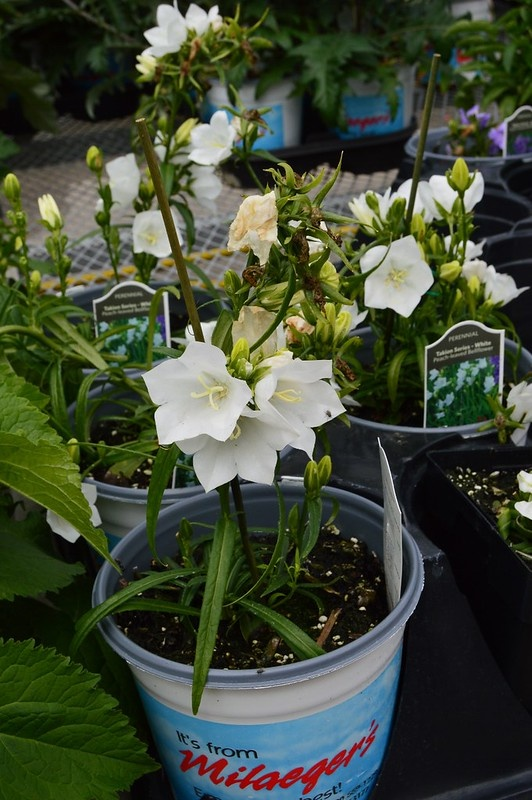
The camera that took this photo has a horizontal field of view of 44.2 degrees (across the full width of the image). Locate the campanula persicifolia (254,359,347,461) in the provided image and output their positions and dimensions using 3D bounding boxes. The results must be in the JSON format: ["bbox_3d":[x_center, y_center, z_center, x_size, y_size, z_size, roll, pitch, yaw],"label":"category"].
[{"bbox_3d":[0.023,-0.003,0.451,0.064,0.068,0.033,-11,36,-6],"label":"campanula persicifolia"}]

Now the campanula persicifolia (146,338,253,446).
[{"bbox_3d":[-0.041,-0.008,0.407,0.070,0.067,0.045,7,33,20],"label":"campanula persicifolia"}]

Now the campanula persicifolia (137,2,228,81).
[{"bbox_3d":[-0.131,-0.577,1.049,0.139,0.104,0.159,0,31,9],"label":"campanula persicifolia"}]

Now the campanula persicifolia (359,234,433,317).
[{"bbox_3d":[0.175,-0.182,0.894,0.085,0.026,0.089,34,30,-17],"label":"campanula persicifolia"}]

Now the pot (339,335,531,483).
[{"bbox_3d":[0.262,0.006,1.018,0.251,0.085,0.260,-3,42,2],"label":"pot"}]

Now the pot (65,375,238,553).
[{"bbox_3d":[-0.198,0.128,1.104,0.271,0.209,0.275,1,35,-1],"label":"pot"}]

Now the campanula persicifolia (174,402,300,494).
[{"bbox_3d":[-0.019,0.035,0.445,0.067,0.063,0.032,-2,-11,-2],"label":"campanula persicifolia"}]

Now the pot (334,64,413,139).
[{"bbox_3d":[0.453,-1.227,2.709,0.292,0.243,0.481,2,31,12],"label":"pot"}]

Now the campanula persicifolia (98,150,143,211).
[{"bbox_3d":[-0.267,-0.385,1.190,0.102,0.107,0.050,-2,11,25],"label":"campanula persicifolia"}]
